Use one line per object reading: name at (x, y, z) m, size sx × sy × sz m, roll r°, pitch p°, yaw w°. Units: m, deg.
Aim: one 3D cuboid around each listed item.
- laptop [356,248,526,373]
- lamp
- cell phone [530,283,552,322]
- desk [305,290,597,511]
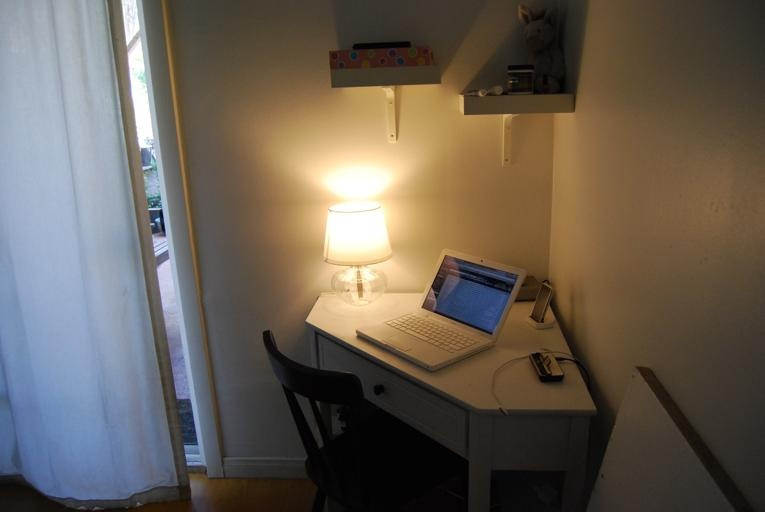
laptop at (0.255, 0.128, 2.317) m, size 0.516 × 0.327 × 0.469 m, roll -8°, pitch 16°, yaw -38°
lamp at (-0.028, -0.052, 2.758) m, size 0.385 × 0.550 × 0.405 m, roll -2°, pitch 14°, yaw 9°
cell phone at (0.669, 0.198, 2.451) m, size 0.057 × 0.168 × 0.121 m, roll 2°, pitch 14°, yaw -4°
desk at (0.300, 0.555, 2.324) m, size 1.102 × 0.593 × 0.540 m, roll 9°, pitch 15°, yaw 36°
